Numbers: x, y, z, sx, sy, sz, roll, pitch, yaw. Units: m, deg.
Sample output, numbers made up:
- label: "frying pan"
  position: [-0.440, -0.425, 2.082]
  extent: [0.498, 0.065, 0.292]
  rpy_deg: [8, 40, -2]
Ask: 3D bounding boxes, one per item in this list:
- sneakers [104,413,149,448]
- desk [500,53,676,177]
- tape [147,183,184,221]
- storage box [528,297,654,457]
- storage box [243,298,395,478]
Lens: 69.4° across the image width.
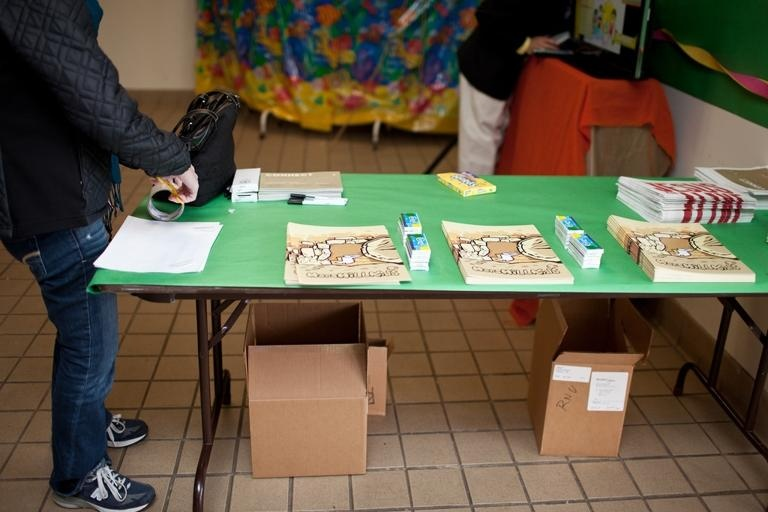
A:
- label: "sneakers"
  position: [-1.165, 0.803, 2.551]
  extent: [0.187, 0.076, 0.109]
  rpy_deg: [-4, 27, -13]
- label: "desk"
  position: [1.124, -0.872, 3.446]
  extent: [0.820, 0.739, 1.060]
  rpy_deg: [-4, 32, -11]
- label: "tape"
  position: [-0.890, -0.215, 2.304]
  extent: [0.164, 0.148, 0.122]
  rpy_deg: [13, 24, -10]
- label: "storage box"
  position: [0.905, 0.531, 2.611]
  extent: [0.505, 0.640, 0.650]
  rpy_deg: [-2, 22, -4]
- label: "storage box"
  position: [-0.306, 0.604, 2.595]
  extent: [0.642, 0.583, 0.636]
  rpy_deg: [1, 13, 0]
